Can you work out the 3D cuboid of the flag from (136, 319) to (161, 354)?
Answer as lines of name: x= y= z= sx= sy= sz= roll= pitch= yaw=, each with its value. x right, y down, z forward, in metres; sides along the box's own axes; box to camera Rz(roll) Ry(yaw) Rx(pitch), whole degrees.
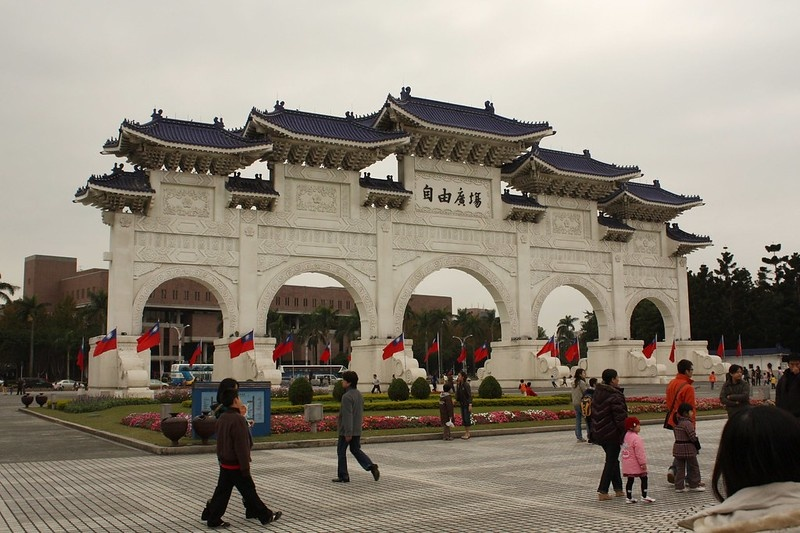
flag: x=-11.256 y=3.130 z=36.157 sx=0.913 sy=1.337 sz=2.120 roll=3 pitch=-8 yaw=-19

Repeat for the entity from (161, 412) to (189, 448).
entity: x=-6.069 y=4.332 z=21.744 sx=0.763 sy=0.920 sz=0.786 roll=0 pitch=-11 yaw=6

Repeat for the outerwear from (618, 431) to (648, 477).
outerwear: x=4.560 y=3.668 z=15.901 sx=0.436 sy=0.885 sz=0.309 roll=-1 pitch=-8 yaw=8

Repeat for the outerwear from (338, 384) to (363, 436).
outerwear: x=-1.104 y=3.177 z=17.715 sx=0.510 sy=1.062 sz=0.387 roll=2 pitch=-8 yaw=-10

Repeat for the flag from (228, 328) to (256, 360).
flag: x=-7.465 y=3.660 z=37.968 sx=1.322 sy=1.346 sz=0.233 roll=-7 pitch=7 yaw=-37

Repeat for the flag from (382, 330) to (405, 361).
flag: x=-0.413 y=4.026 z=40.941 sx=1.354 sy=1.360 sz=0.161 roll=-5 pitch=-8 yaw=35

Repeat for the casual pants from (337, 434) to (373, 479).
casual pants: x=-1.060 y=4.214 z=18.066 sx=0.706 sy=0.960 sz=1.257 roll=1 pitch=-8 yaw=-7

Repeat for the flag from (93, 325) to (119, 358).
flag: x=-13.245 y=3.385 z=36.407 sx=1.266 sy=1.181 sz=0.707 roll=-7 pitch=-11 yaw=44

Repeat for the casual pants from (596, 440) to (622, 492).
casual pants: x=4.184 y=4.027 z=16.334 sx=0.474 sy=1.027 sz=0.728 roll=-2 pitch=-8 yaw=13
